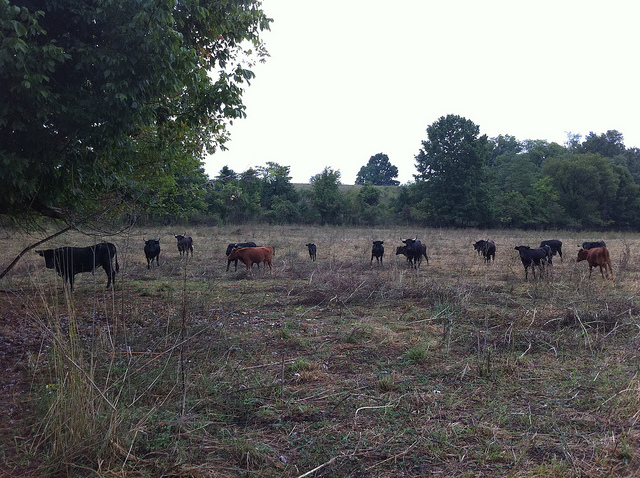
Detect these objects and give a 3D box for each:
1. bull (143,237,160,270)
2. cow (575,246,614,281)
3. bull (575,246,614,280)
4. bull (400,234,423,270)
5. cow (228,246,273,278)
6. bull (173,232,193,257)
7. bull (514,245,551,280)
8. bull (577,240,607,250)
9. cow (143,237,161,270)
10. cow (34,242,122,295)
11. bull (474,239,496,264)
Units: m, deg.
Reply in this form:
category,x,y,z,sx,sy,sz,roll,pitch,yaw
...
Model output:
category,x,y,z,sx,sy,sz,roll,pitch,yaw
bull,-6.507,0.558,23.998,0.515,1.004,1.774,-1,11,-15
cow,9.214,0.818,21.094,0.451,1.083,1.494,0,-2,-11
bull,9.222,0.807,21.059,0.444,1.044,1.460,0,-3,-14
bull,3.667,0.531,24.530,0.676,1.162,1.684,0,9,6
cow,-2.433,0.818,22.057,1.563,1.114,0.436,-1,5,-11
bull,-5.990,0.119,26.565,0.625,1.168,1.607,-1,-5,-1
bull,7.332,0.690,21.244,1.630,0.936,0.415,-4,5,-31
bull,11.960,0.258,27.593,1.089,0.606,0.385,-2,-2,14
cow,-6.355,0.498,23.513,0.547,1.137,2.440,-3,9,-15
cow,-6.811,0.825,18.034,2.325,1.324,0.610,-4,3,0
bull,6.979,0.466,26.128,0.569,0.951,1.770,1,9,12
